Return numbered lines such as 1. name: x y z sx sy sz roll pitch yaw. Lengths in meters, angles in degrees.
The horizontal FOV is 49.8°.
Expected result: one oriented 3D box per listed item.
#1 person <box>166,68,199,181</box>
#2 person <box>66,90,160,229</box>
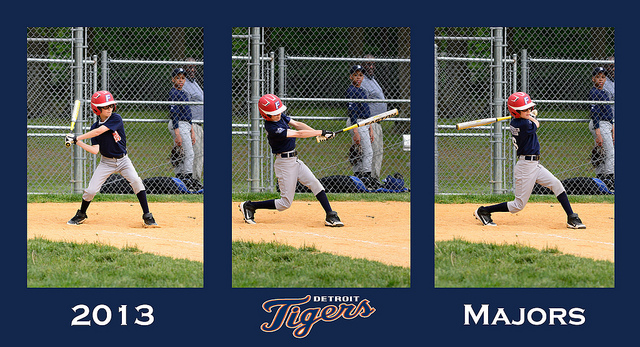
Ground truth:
1. person: -2.595 -0.928 13.129 0.548 2.109 0.770 0 7 -10
2. person: -3.360 -0.220 10.914 1.323 2.139 0.751 -1 7 -14
